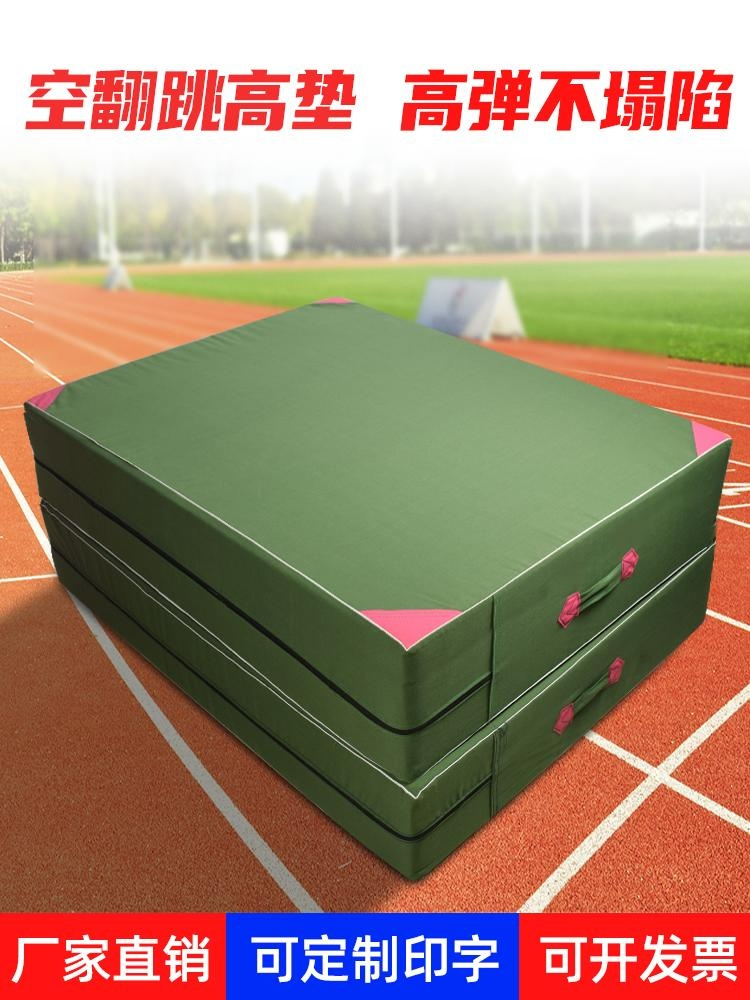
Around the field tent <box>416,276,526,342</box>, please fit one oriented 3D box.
[{"bbox_3d":[1.132,-2.612,9.905,1.321,0.750,1.023,0,21,-3],"label":"field tent"}]
